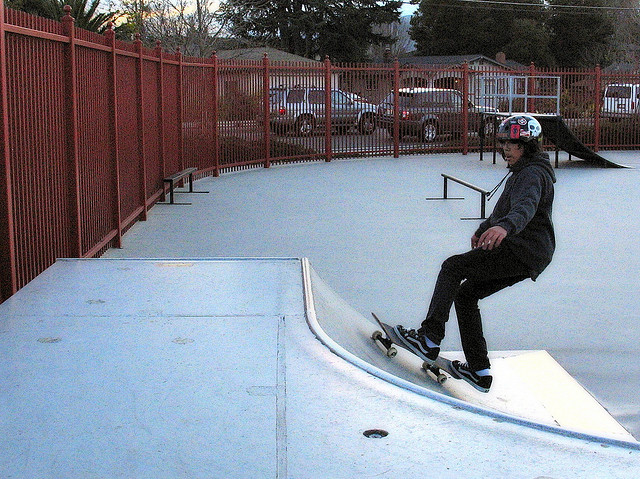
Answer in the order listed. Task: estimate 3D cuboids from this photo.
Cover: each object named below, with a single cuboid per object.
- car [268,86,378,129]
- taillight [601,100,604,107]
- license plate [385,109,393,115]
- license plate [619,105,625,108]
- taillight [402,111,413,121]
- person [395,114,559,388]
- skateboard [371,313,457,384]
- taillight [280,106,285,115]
[{"bbox_3d":[-0.178,-4.232,18.796,2.825,1.020,1.247,-8,17,-25],"label":"car"},{"bbox_3d":[10.874,-5.248,22.845,0.086,0.249,0.345,8,12,18],"label":"taillight"},{"bbox_3d":[2.362,-4.432,20.476,0.222,0.147,0.009,2,20,3],"label":"license plate"},{"bbox_3d":[11.705,-5.176,22.983,0.277,0.108,0.040,-2,13,-27],"label":"license plate"},{"bbox_3d":[3.155,-4.443,21.252,0.458,0.321,0.073,-4,14,-34],"label":"taillight"},{"bbox_3d":[1.257,0.120,4.459,0.816,2.113,0.991,14,15,40],"label":"person"},{"bbox_3d":[0.727,0.856,4.561,0.773,0.134,0.204,34,21,12],"label":"skateboard"},{"bbox_3d":[-1.134,-3.909,17.909,0.072,0.241,0.233,9,13,21],"label":"taillight"}]
